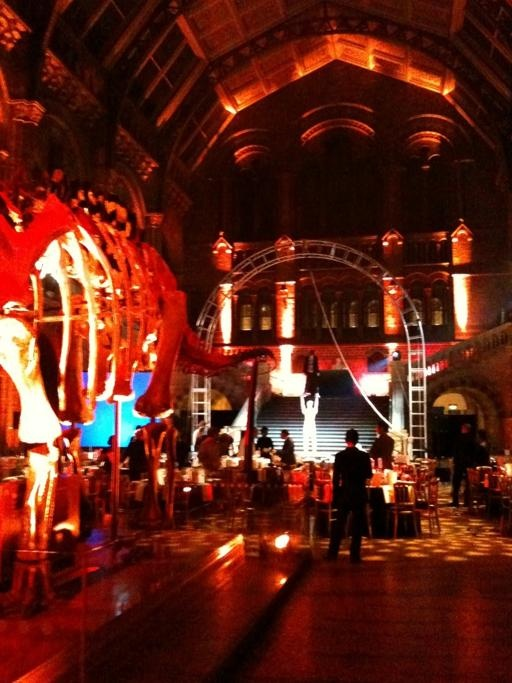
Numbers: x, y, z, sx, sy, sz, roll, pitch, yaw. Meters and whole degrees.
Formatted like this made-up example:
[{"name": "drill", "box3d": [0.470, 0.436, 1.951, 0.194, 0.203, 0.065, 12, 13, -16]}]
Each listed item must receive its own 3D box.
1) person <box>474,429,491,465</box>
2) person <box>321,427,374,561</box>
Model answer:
[{"name": "person", "box3d": [4.722, 2.199, 13.631, 0.253, 0.745, 1.807, -2, -10, 19]}, {"name": "person", "box3d": [1.089, 1.782, 7.707, 0.486, 1.438, 1.519, 0, -10, 8]}]
